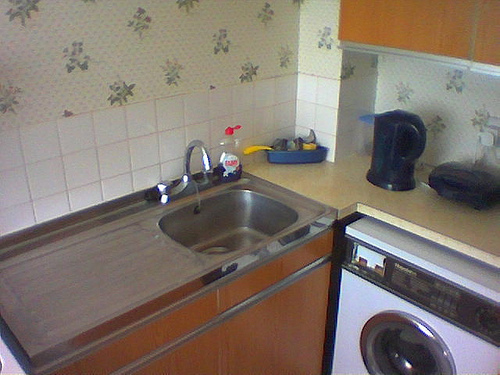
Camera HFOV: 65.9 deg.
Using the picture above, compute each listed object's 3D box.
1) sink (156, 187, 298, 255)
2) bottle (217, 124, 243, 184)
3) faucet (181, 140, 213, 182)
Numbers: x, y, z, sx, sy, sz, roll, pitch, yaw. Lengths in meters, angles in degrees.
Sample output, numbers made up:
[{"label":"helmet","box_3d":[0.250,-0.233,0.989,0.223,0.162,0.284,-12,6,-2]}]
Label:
[{"label":"sink","box_3d":[-0.086,0.090,2.360,0.625,0.281,0.762,18,1,-37]},{"label":"bottle","box_3d":[-0.136,-0.190,2.133,0.175,0.318,0.117,-9,15,-41]},{"label":"faucet","box_3d":[-0.253,-0.140,1.926,0.131,0.223,0.149,18,29,30]}]
